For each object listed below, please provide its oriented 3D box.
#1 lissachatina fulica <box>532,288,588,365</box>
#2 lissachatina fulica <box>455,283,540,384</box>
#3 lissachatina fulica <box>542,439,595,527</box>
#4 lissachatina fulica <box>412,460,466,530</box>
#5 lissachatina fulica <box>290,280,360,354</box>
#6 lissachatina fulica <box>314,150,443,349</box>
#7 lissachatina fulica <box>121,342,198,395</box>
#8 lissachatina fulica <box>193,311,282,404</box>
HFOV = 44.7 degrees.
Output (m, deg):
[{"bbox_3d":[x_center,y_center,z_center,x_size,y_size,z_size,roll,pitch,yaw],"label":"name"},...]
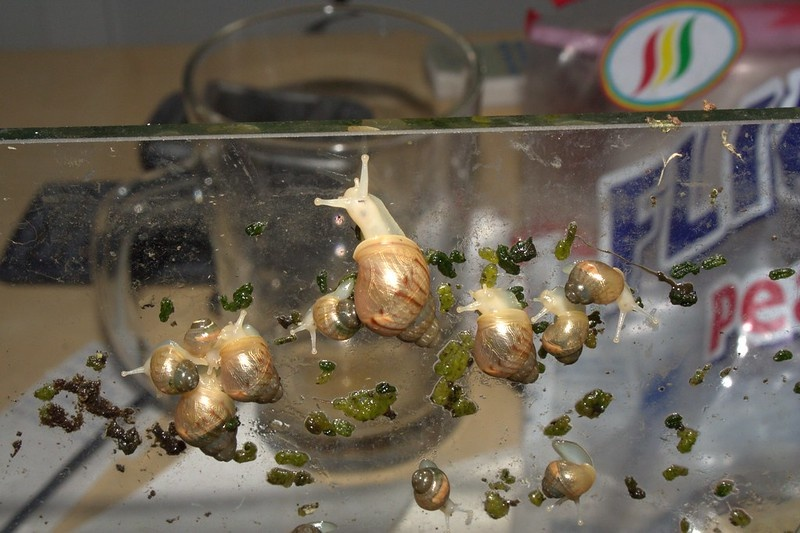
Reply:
[{"bbox_3d":[0.319,0.116,1.887,0.086,0.130,0.050,-36,-54,20],"label":"lissachatina fulica"},{"bbox_3d":[0.186,0.128,1.819,0.118,0.173,0.059,-16,-10,18],"label":"lissachatina fulica"},{"bbox_3d":[0.317,0.423,1.879,0.081,0.130,0.047,4,-4,31],"label":"lissachatina fulica"},{"bbox_3d":[0.064,0.433,1.875,0.076,0.135,0.057,-37,6,-12],"label":"lissachatina fulica"},{"bbox_3d":[-0.144,0.093,1.886,0.119,0.068,0.177,22,38,10],"label":"lissachatina fulica"},{"bbox_3d":[-0.033,-0.001,1.907,0.166,0.396,0.139,-23,-3,-10],"label":"lissachatina fulica"},{"bbox_3d":[-0.458,0.197,1.868,0.157,0.070,0.048,-5,-2,24],"label":"lissachatina fulica"},{"bbox_3d":[-0.299,0.181,1.891,0.113,0.199,0.115,-36,-22,-10],"label":"lissachatina fulica"}]
